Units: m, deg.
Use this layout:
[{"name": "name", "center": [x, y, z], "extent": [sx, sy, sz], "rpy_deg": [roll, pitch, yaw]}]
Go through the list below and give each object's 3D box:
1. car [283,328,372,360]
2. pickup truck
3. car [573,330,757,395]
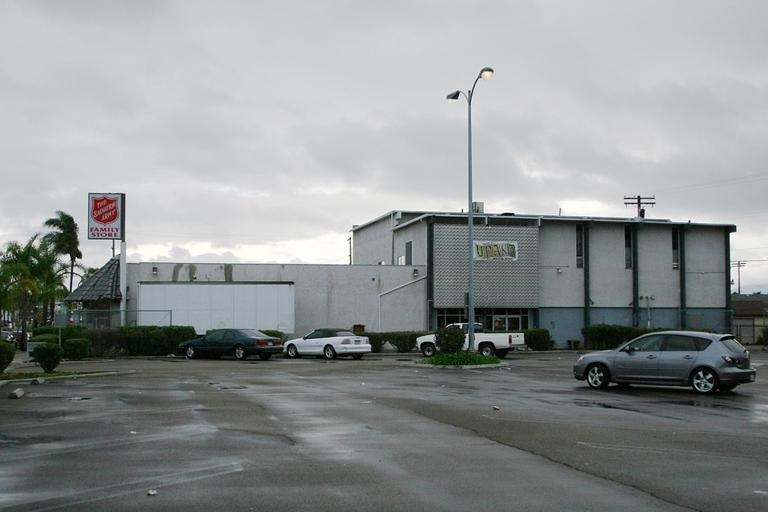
[{"name": "car", "center": [-2.825, 4.364, 44.950], "extent": [4.076, 1.419, 1.079], "rpy_deg": [-1, -6, 17]}, {"name": "pickup truck", "center": [4.085, 4.205, 45.923], "extent": [4.951, 1.541, 1.908], "rpy_deg": [0, 5, 4]}, {"name": "car", "center": [8.878, 3.305, 28.434], "extent": [5.509, 1.739, 2.396], "rpy_deg": [-3, -5, 40]}]
